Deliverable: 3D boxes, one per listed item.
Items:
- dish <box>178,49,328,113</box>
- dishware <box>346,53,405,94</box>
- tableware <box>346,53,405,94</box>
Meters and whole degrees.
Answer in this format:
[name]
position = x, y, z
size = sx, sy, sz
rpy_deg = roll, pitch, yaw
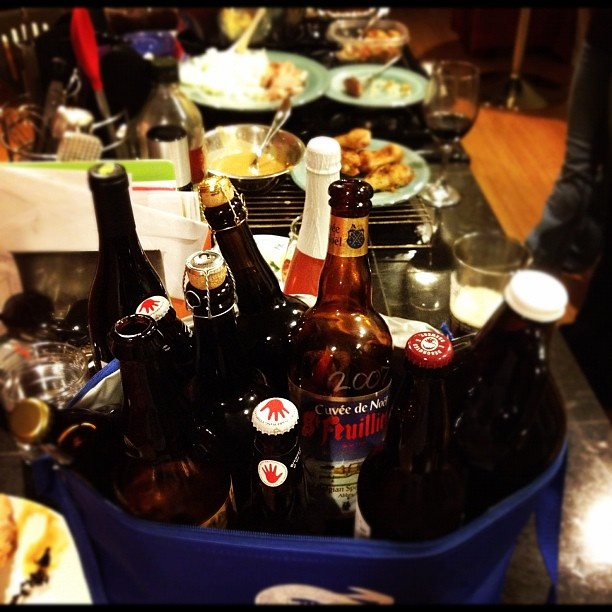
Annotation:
[dish]
position = -0.084, -0.383, 0.941
size = 0.249, 0.080, 0.151
rpy_deg = -6, 33, -5
[dishware]
position = 0.110, -0.385, 0.931
size = 0.092, 0.060, 0.058
rpy_deg = 2, 33, 6
[tableware]
position = 0.110, -0.385, 0.931
size = 0.092, 0.060, 0.058
rpy_deg = 2, 33, 6
